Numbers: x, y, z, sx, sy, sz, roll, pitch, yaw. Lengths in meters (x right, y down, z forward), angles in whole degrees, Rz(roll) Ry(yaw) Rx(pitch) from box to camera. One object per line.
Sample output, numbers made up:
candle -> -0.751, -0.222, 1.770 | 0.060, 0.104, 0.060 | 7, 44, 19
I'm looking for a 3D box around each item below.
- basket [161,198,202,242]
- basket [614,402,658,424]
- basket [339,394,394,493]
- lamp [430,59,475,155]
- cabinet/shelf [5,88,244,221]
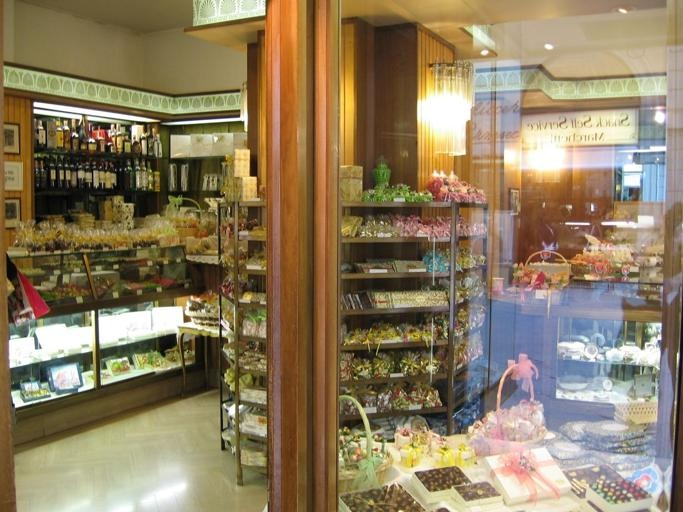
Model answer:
basket -> -1.941, -0.457, 6.720 | 0.246, 0.567, 0.690 | -9, 13, -16
basket -> 0.819, 0.437, 1.553 | 0.065, 0.043, 0.094 | 0, 2, 14
basket -> 0.065, 0.681, 2.067 | 0.198, 0.284, 0.288 | 1, -8, -20
lamp -> 0.340, -0.459, 1.768 | 0.155, 0.291, 0.036 | 5, 5, 43
cabinet/shelf -> -2.817, -1.103, 6.592 | 2.141, 1.294, 0.957 | -4, 7, -44
